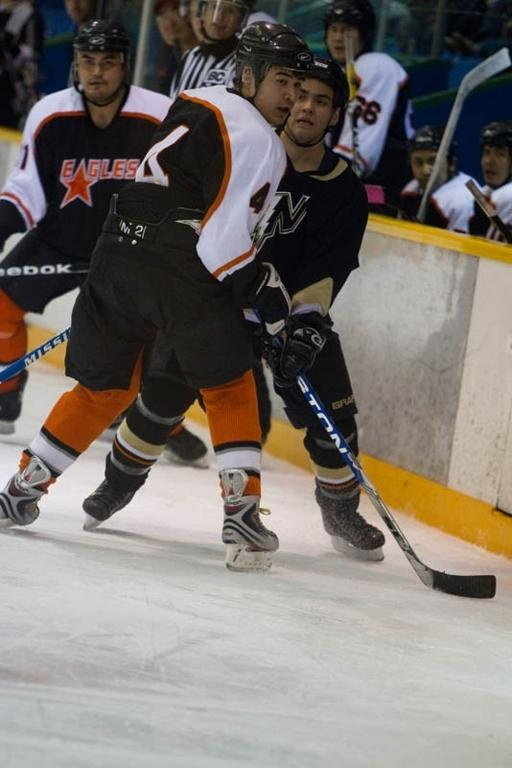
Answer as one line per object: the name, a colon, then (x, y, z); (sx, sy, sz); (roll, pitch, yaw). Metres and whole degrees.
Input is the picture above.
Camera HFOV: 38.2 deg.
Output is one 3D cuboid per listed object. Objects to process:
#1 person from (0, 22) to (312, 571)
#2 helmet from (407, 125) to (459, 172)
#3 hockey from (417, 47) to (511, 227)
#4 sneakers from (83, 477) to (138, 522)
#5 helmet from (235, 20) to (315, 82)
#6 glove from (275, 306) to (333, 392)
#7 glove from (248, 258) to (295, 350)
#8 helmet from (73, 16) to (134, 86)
person: (-0.190, -0.223, 1.868); (0.647, 1.143, 0.357); (12, 3, 37)
helmet: (0.665, -0.902, 2.820); (0.156, 0.160, 0.190); (-4, 18, -24)
hockey: (0.757, -0.921, 2.696); (0.234, 0.639, 0.256); (12, 3, 16)
sneakers: (-0.418, 0.317, 2.199); (0.092, 0.073, 0.223); (-34, 6, 11)
helmet: (0.036, -0.779, 1.781); (0.137, 0.121, 0.174); (-18, 44, -43)
glove: (0.121, -0.092, 2.028); (0.135, 0.213, 0.091); (30, -8, -3)
glove: (0.041, -0.192, 1.890); (0.094, 0.143, 0.225); (8, -23, 10)
helmet: (-0.492, -1.112, 2.532); (0.240, 0.268, 0.265); (2, 19, -1)
